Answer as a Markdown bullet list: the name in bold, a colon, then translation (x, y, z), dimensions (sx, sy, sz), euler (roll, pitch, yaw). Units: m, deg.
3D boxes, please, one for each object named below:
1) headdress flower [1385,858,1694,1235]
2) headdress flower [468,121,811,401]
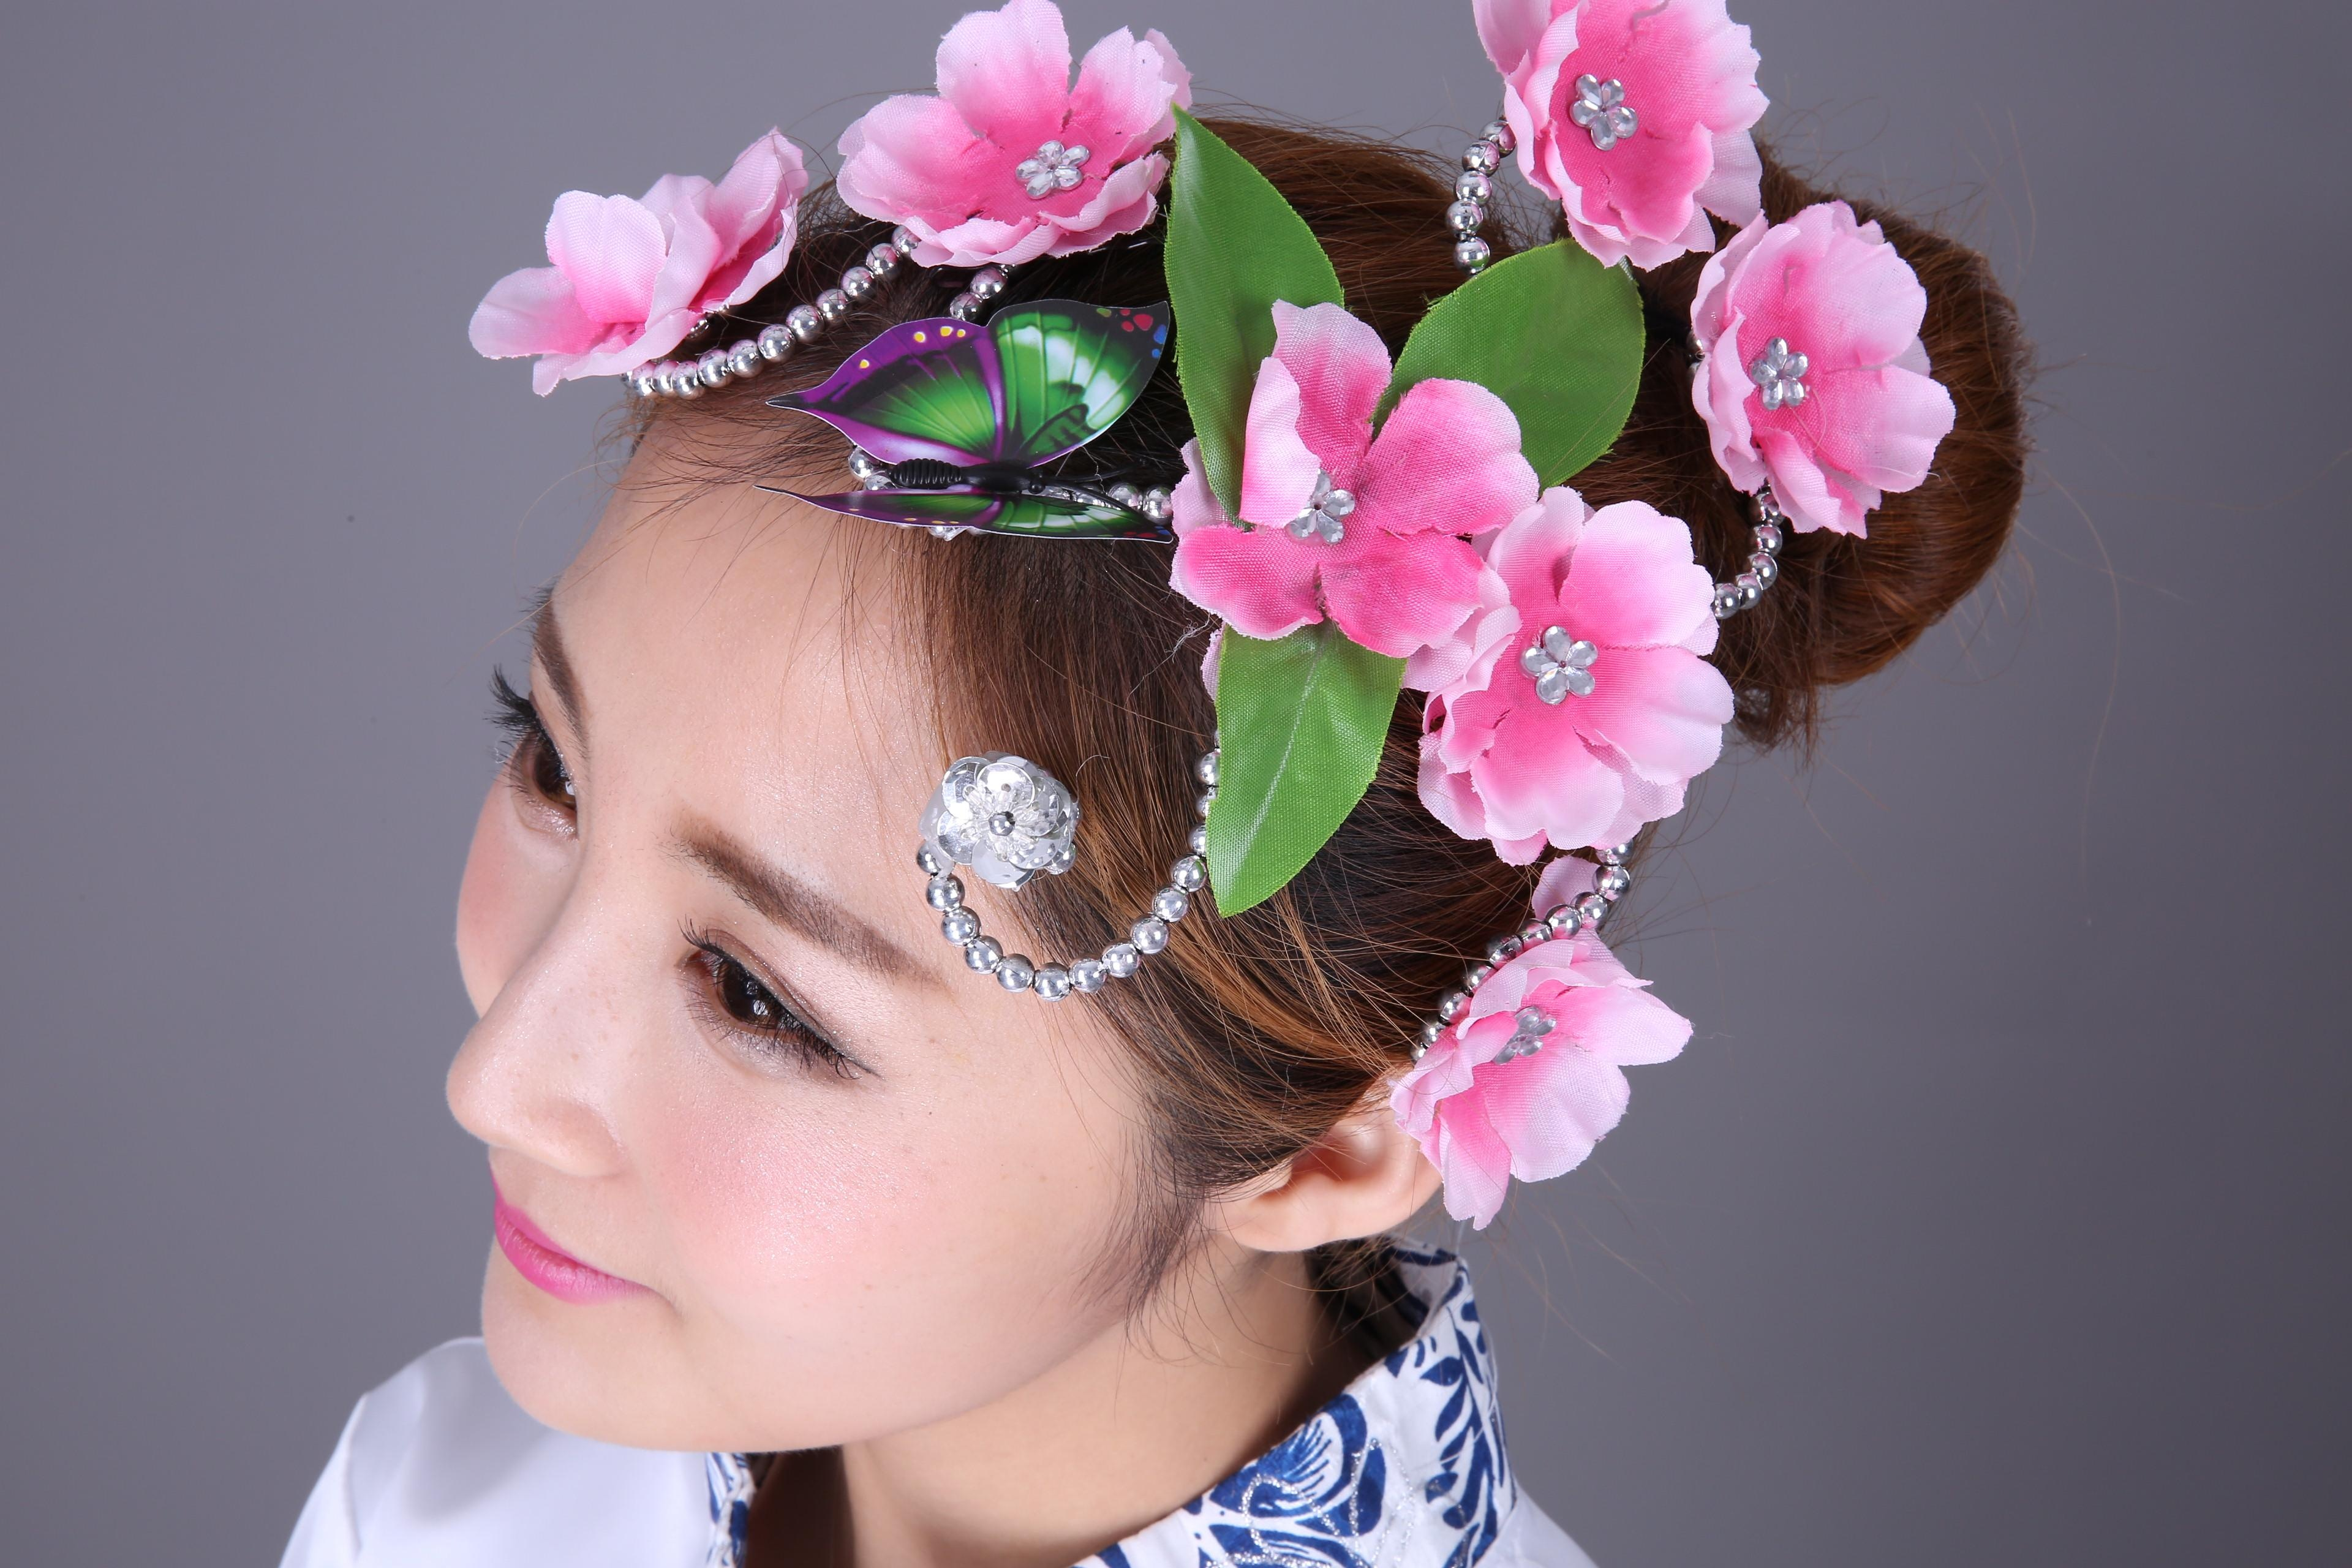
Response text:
- **headdress flower**: translation (0.313, 0.247, 2.452), dimensions (0.255, 0.238, 0.078), euler (-52, -17, 22)
- **headdress flower**: translation (-0.463, -0.454, 2.492), dimensions (0.235, 0.107, 0.260), euler (-43, 24, -8)
